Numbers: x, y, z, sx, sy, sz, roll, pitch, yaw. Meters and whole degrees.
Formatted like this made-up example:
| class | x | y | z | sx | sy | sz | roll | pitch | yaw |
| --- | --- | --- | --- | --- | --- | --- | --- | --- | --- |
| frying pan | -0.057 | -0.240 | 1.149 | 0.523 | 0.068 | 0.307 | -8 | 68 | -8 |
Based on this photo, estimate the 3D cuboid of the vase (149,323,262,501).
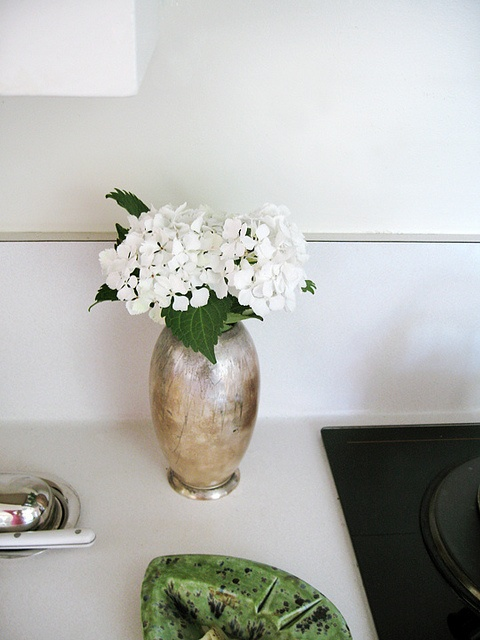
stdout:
| class | x | y | z | sx | sy | sz | roll | pitch | yaw |
| --- | --- | --- | --- | --- | --- | --- | --- | --- | --- |
| vase | -0.050 | 0.124 | 0.833 | 0.156 | 0.227 | 0.155 | 7 | 20 | 14 |

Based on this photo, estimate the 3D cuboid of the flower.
| class | x | y | z | sx | sy | sz | roll | pitch | yaw |
| --- | --- | --- | --- | --- | --- | --- | --- | --- | --- |
| flower | -0.054 | -0.065 | 0.684 | 0.190 | 0.140 | 0.206 | -7 | 39 | -30 |
